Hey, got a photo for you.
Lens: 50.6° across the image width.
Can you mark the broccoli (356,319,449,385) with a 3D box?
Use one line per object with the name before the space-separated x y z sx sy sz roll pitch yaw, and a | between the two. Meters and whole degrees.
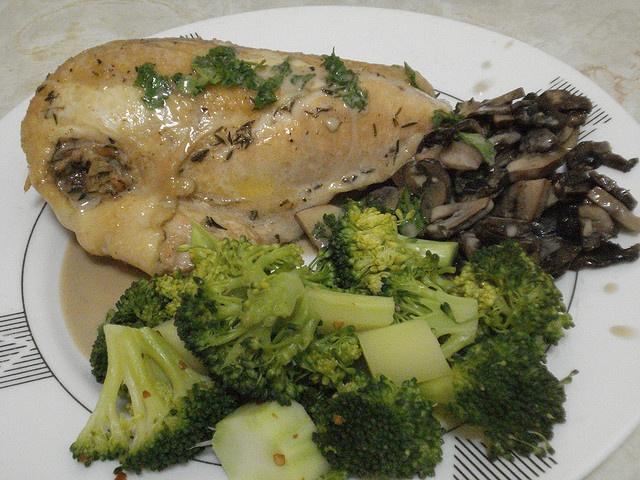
broccoli | 0.537 0.706 4.198 0.439 0.102 0.395 -16 78 1
